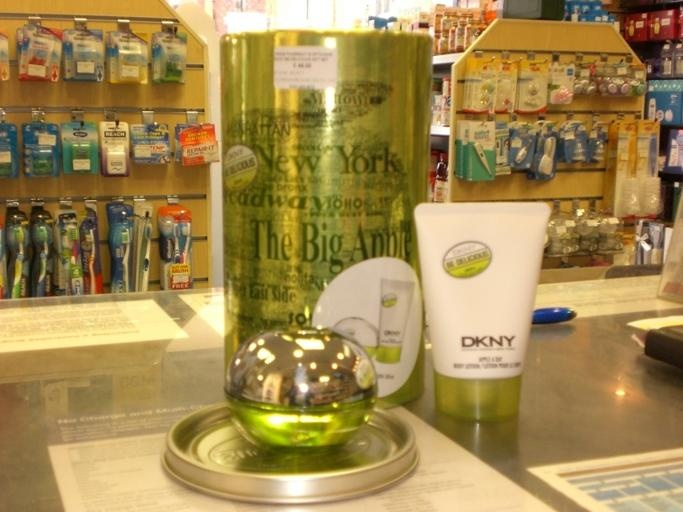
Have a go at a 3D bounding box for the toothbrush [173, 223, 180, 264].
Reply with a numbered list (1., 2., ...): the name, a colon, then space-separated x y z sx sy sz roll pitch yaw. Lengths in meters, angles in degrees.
1. toothbrush: -1.035 -0.079 3.454 0.041 0.226 0.043 -2 12 -5

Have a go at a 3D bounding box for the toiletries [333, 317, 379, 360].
1. toiletries: 0.014 0.074 0.531 0.039 0.024 0.040 7 2 24

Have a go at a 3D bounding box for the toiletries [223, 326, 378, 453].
1. toiletries: -0.034 0.104 0.456 0.127 0.091 0.130 4 2 32

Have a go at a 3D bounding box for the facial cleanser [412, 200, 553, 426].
1. facial cleanser: 0.138 0.051 0.542 0.123 0.203 0.072 0 10 8

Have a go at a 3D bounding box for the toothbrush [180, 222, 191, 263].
1. toothbrush: -0.984 -0.086 3.471 0.076 0.258 0.061 -5 12 -17

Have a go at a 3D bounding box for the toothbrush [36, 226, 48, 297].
1. toothbrush: -1.733 0.038 3.208 0.074 0.386 0.092 4 -5 -25

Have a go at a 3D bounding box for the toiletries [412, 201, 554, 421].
1. toiletries: 0.133 0.050 0.524 0.127 0.198 0.065 0 12 6

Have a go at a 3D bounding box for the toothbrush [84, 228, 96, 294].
1. toothbrush: -1.488 0.028 3.274 0.053 0.366 0.116 -4 12 -14

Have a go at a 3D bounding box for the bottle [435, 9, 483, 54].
1. bottle: 0.915 -1.832 4.404 0.238 0.430 0.417 -9 19 -28

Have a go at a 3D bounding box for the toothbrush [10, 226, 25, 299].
1. toothbrush: -1.846 0.073 3.148 0.079 0.389 0.072 2 20 -18
